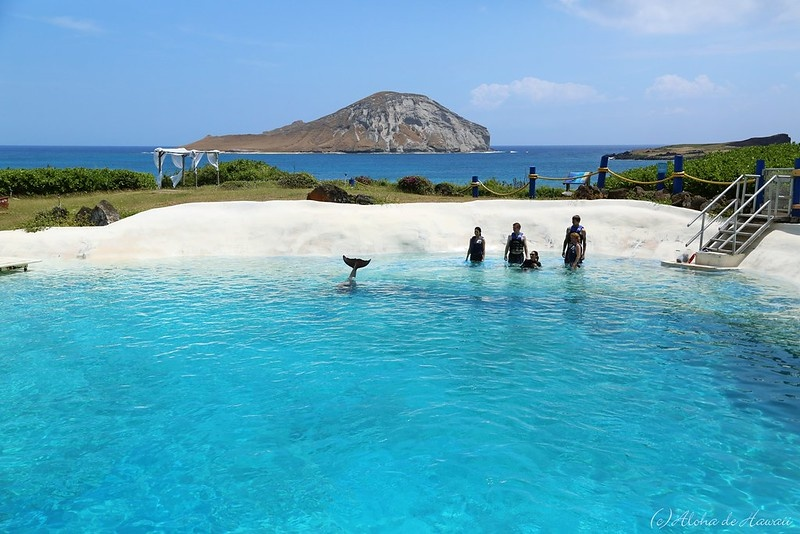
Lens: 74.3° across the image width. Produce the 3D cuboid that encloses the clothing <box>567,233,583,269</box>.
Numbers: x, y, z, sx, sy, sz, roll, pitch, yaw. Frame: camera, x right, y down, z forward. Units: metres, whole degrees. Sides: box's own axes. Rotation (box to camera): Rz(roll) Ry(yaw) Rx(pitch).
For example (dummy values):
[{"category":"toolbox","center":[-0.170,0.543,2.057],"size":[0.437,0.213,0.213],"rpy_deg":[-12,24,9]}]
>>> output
[{"category":"clothing","center":[6.653,-0.633,20.072],"size":[0.605,1.258,0.794],"rpy_deg":[4,16,16]}]

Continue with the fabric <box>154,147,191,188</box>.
[{"category":"fabric","center":[-20.472,-9.262,46.911],"size":[2.061,2.871,28.793],"rpy_deg":[-7,15,-23]}]

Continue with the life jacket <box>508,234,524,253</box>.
[{"category":"life jacket","center":[4.510,-0.924,20.403],"size":[0.610,0.733,0.313],"rpy_deg":[2,16,10]}]

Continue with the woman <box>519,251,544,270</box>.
[{"category":"woman","center":[4.905,-0.238,19.674],"size":[0.892,0.630,0.538],"rpy_deg":[-6,16,-22]}]
